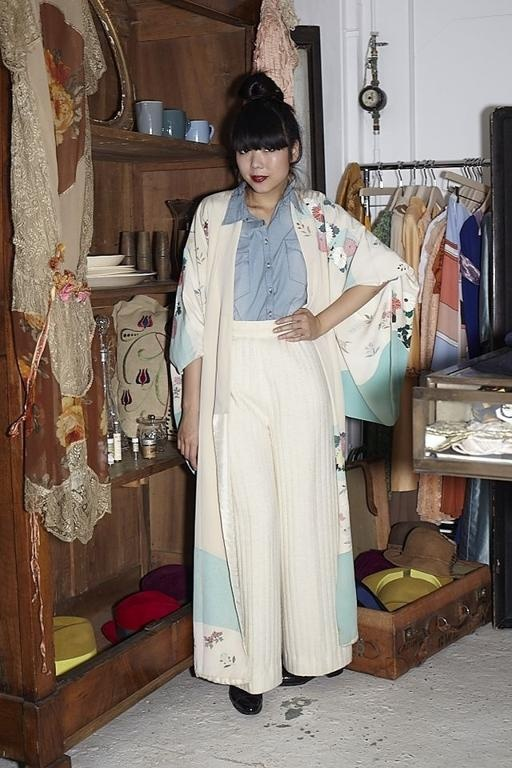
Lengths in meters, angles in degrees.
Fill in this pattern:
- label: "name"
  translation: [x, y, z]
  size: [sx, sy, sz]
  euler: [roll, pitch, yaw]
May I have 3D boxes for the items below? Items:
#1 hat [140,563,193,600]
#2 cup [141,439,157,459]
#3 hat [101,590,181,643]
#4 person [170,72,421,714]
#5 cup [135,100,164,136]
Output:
- label: "hat"
  translation: [-0.283, 0.647, 2.157]
  size: [0.095, 0.051, 0.133]
  euler: [-23, -9, 15]
- label: "cup"
  translation: [-0.299, 0.179, 1.818]
  size: [0.040, 0.054, 0.049]
  euler: [-1, -2, -5]
- label: "hat"
  translation: [-0.343, 0.671, 1.945]
  size: [0.227, 0.088, 0.169]
  euler: [-6, 5, 4]
- label: "person"
  translation: [0.110, 0.035, 1.725]
  size: [0.620, 1.581, 0.394]
  euler: [0, -2, -30]
- label: "cup"
  translation: [-0.302, -0.747, 1.861]
  size: [0.072, 0.088, 0.054]
  euler: [-1, -2, -13]
